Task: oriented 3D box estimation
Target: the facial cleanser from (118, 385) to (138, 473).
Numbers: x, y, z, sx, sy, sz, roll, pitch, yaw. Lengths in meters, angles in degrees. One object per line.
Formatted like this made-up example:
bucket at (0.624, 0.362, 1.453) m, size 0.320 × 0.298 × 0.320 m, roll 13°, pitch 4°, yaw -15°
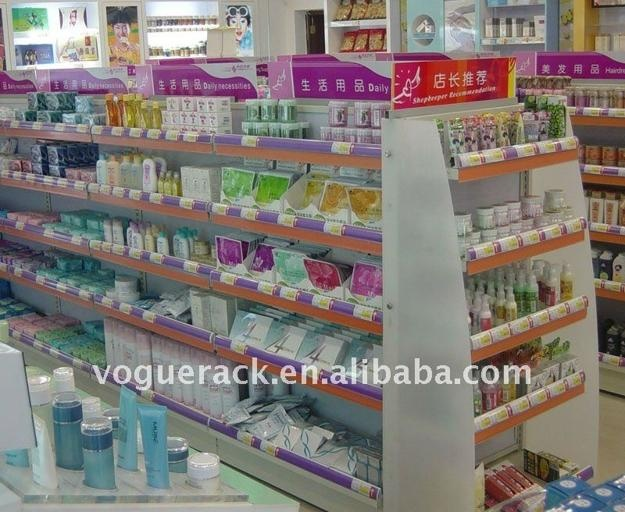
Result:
facial cleanser at (-0.535, 0.499, 1.488) m, size 0.050 × 0.229 × 0.122 m, roll -3°, pitch 6°, yaw -40°

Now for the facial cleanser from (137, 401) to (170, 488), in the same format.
facial cleanser at (-0.425, 0.521, 1.393) m, size 0.091 × 0.228 × 0.049 m, roll 4°, pitch 8°, yaw 19°
